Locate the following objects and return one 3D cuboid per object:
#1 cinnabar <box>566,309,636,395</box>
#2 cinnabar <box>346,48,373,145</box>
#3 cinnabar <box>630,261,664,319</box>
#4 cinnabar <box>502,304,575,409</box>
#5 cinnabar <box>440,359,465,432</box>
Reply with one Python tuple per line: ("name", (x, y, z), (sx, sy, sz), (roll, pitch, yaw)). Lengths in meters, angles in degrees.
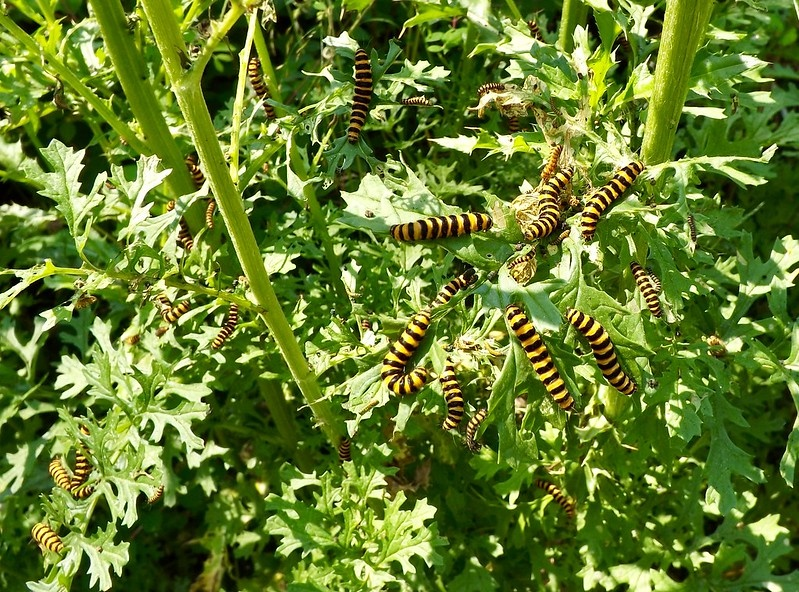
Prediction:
("cinnabar", (0.784, 0.202, 3.088), (0.077, 0.082, 0.340), (-22, 105, 40))
("cinnabar", (-0.177, -0.880, 3.484), (0.087, 0.100, 0.481), (4, 94, 13))
("cinnabar", (1.050, -0.017, 3.382), (0.049, 0.057, 0.239), (-18, 95, 2))
("cinnabar", (0.545, 0.256, 3.107), (0.121, 0.329, 0.385), (-30, 56, -19))
("cinnabar", (0.207, 0.409, 3.246), (0.086, 0.079, 0.337), (0, 88, 42))
